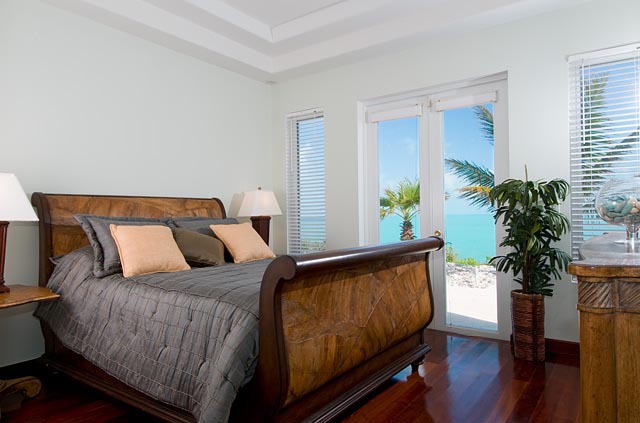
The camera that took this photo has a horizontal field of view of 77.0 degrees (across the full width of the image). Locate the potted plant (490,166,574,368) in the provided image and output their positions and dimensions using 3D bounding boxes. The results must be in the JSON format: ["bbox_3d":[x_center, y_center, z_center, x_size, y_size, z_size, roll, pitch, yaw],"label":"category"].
[{"bbox_3d":[2.170,0.520,4.206,0.742,1.907,0.718,5,11,33],"label":"potted plant"}]
